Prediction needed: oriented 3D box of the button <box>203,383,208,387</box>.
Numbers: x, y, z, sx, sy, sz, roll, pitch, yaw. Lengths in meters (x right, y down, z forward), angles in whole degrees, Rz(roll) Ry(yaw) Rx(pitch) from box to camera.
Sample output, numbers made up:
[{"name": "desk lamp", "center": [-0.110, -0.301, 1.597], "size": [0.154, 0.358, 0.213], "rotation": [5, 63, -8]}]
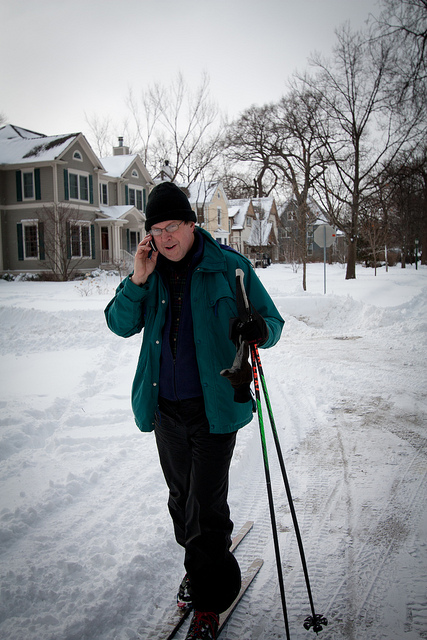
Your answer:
[{"name": "button", "center": [-0.038, 0.304, 2.194], "size": [0.018, 0.017, 0.003], "rotation": [-1, 3, 19]}]

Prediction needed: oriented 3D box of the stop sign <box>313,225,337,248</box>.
[{"name": "stop sign", "center": [4.009, -3.097, 17.199], "size": [0.604, 0.846, 1.306], "rotation": [1, 5, 40]}]

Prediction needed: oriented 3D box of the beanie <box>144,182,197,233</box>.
[{"name": "beanie", "center": [-0.214, -0.544, 2.428], "size": [0.189, 0.274, 0.251], "rotation": [-9, -5, 7]}]

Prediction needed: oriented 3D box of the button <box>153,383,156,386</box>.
[{"name": "button", "center": [-0.291, 0.322, 2.345], "size": [0.009, 0.013, 0.002], "rotation": [-3, 3, -9]}]

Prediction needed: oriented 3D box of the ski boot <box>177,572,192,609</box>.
[{"name": "ski boot", "center": [-0.163, 1.462, 2.551], "size": [0.069, 0.149, 0.133], "rotation": [-3, 4, -7]}]

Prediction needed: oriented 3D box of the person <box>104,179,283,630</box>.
[{"name": "person", "center": [-0.091, 0.379, 2.388], "size": [0.873, 2.168, 0.579], "rotation": [1, 4, 40]}]

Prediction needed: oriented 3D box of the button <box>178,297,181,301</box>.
[{"name": "button", "center": [-0.172, -0.105, 2.393], "size": [0.016, 0.021, 0.010], "rotation": [-3, -10, 14]}]

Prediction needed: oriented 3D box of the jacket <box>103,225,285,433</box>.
[{"name": "jacket", "center": [-0.112, 0.061, 2.399], "size": [0.746, 1.095, 0.458], "rotation": [-2, -7, 10]}]

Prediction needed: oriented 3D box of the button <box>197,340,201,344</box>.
[{"name": "button", "center": [-0.069, 0.105, 2.225], "size": [0.015, 0.018, 0.005], "rotation": [-2, 3, 6]}]

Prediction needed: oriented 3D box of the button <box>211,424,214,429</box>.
[{"name": "button", "center": [-0.006, 0.489, 2.161], "size": [0.012, 0.016, 0.003], "rotation": [-2, 3, 10]}]

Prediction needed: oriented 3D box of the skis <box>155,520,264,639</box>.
[{"name": "skis", "center": [0.124, 1.409, 2.736], "size": [0.220, 0.022, 0.959], "rotation": [-14, 5, 17]}]
